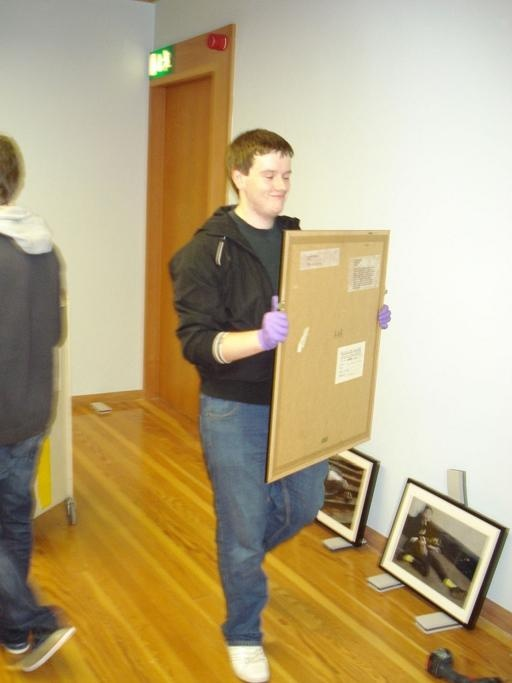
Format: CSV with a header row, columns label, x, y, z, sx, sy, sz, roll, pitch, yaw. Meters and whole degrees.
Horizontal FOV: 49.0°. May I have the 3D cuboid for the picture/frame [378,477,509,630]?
label,x,y,z,sx,sy,sz,roll,pitch,yaw
picture/frame,0.636,0.709,1.853,0.040,0.380,0.398,11,11,-33

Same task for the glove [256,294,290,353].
label,x,y,z,sx,sy,sz,roll,pitch,yaw
glove,0.036,-0.035,1.146,0.060,0.108,0.043,-2,-9,38

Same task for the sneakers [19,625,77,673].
label,x,y,z,sx,sy,sz,roll,pitch,yaw
sneakers,-0.567,0.828,1.511,0.155,0.059,0.062,-40,-1,-3
